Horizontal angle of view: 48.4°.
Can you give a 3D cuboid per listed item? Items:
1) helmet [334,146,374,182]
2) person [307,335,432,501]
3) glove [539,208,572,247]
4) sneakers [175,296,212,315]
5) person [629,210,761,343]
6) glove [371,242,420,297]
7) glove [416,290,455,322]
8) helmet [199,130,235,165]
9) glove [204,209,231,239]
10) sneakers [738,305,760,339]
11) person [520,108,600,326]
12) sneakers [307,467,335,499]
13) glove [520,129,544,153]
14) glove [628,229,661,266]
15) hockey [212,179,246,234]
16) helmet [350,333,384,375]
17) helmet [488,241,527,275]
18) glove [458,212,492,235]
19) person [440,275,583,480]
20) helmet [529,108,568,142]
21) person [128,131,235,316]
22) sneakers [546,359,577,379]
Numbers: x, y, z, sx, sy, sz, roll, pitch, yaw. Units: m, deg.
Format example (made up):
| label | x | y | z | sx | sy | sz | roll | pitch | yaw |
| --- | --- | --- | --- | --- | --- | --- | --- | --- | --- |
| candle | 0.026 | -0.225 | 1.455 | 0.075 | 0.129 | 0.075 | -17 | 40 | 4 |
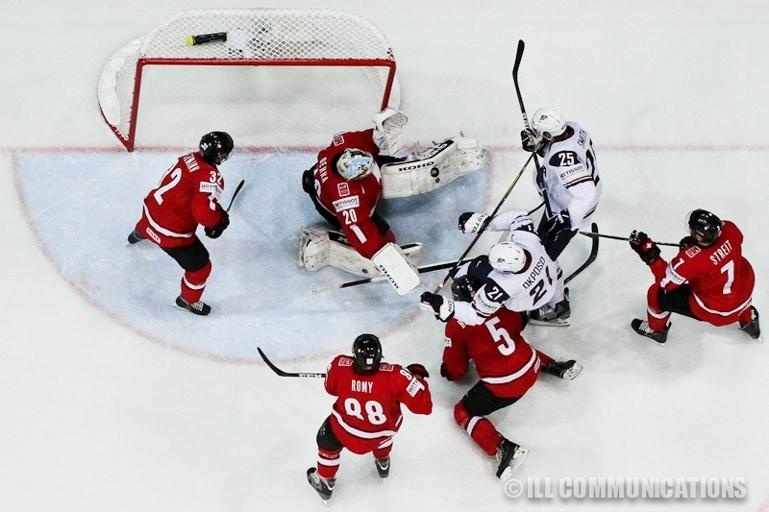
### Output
| label | x | y | z | sx | sy | sz | roll | pitch | yaw |
| --- | --- | --- | --- | --- | --- | --- | --- | --- | --- |
| helmet | -0.275 | -0.833 | 7.703 | 0.309 | 0.245 | 0.257 | -8 | 16 | -8 |
| person | -0.152 | 1.324 | 7.426 | 1.062 | 1.845 | 0.726 | 1 | 38 | -3 |
| glove | 1.608 | -0.264 | 7.994 | 0.127 | 0.318 | 0.317 | -1 | 45 | -39 |
| sneakers | -1.788 | 0.476 | 8.030 | 0.313 | 0.124 | 0.152 | 16 | 32 | -16 |
| person | 2.832 | 0.242 | 7.827 | 0.713 | 0.931 | 0.574 | 29 | 82 | 23 |
| glove | 0.120 | 0.121 | 7.848 | 0.327 | 0.154 | 0.530 | -39 | 85 | 6 |
| glove | 0.454 | 0.417 | 7.416 | 0.279 | 0.120 | 0.224 | 37 | 104 | 8 |
| helmet | -1.486 | -0.981 | 7.636 | 0.311 | 0.296 | 0.244 | -36 | 86 | -19 |
| glove | -1.518 | -0.277 | 7.831 | 0.201 | 0.096 | 0.272 | 35 | 77 | 2 |
| sneakers | 3.379 | 0.624 | 7.915 | 0.185 | 0.148 | 0.323 | -32 | 33 | 32 |
| person | 1.627 | -0.284 | 7.957 | 0.780 | 2.055 | 0.946 | 10 | 44 | 18 |
| sneakers | -0.539 | 1.932 | 7.315 | 0.099 | 0.193 | 0.288 | -16 | 61 | -31 |
| glove | 1.405 | -1.088 | 8.092 | 0.087 | 0.178 | 0.229 | -29 | 38 | -26 |
| glove | 2.316 | -0.077 | 7.687 | 0.200 | 0.133 | 0.342 | -37 | 88 | 11 |
| hockey | -1.439 | -0.476 | 8.350 | 0.143 | 0.473 | 0.259 | 14 | 8 | 20 |
| helmet | -0.156 | 0.783 | 6.857 | 0.232 | 0.313 | 0.255 | 3 | 9 | -6 |
| helmet | 1.039 | 0.002 | 7.208 | 0.290 | 0.226 | 0.223 | 19 | 95 | 9 |
| glove | 0.818 | -0.294 | 7.845 | 0.245 | 0.088 | 0.183 | 5 | 54 | 54 |
| person | 0.983 | 0.960 | 7.578 | 0.956 | 1.554 | 1.438 | 10 | 48 | 26 |
| helmet | 1.468 | -1.189 | 7.820 | 0.330 | 0.273 | 0.248 | 27 | 84 | 0 |
| person | -1.897 | -0.226 | 8.009 | 0.721 | 1.318 | 1.056 | -20 | 63 | -41 |
| sneakers | 1.595 | 1.011 | 7.744 | 0.293 | 0.137 | 0.125 | 7 | 84 | 39 |
